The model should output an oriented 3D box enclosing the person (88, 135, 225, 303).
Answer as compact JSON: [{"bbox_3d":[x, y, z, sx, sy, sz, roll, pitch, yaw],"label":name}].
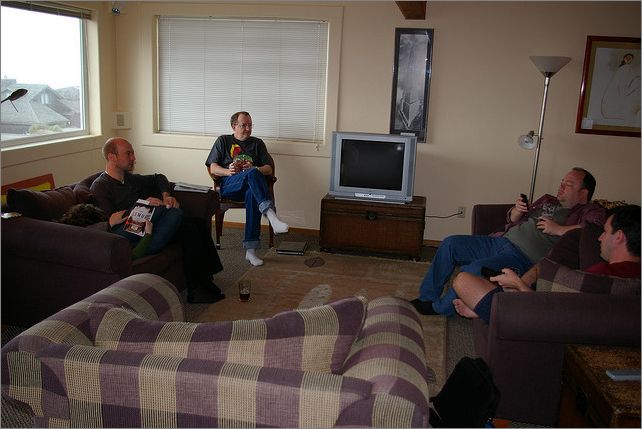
[{"bbox_3d":[-1.367,0.053,3.785,0.899,1.398,0.661,-8,7,-12],"label":"person"}]

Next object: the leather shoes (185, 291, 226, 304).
[{"bbox_3d":[-0.940,0.658,3.701,0.310,0.124,0.109,-1,3,-1],"label":"leather shoes"}]

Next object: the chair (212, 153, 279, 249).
[{"bbox_3d":[-0.757,-0.099,4.631,0.687,1.147,0.835,0,6,-9],"label":"chair"}]

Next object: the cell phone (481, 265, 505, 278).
[{"bbox_3d":[1.125,0.374,2.998,0.154,0.085,0.037,1,4,23],"label":"cell phone"}]

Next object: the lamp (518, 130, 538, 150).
[{"bbox_3d":[2.048,-0.745,4.532,0.153,0.155,0.168,21,51,25],"label":"lamp"}]
